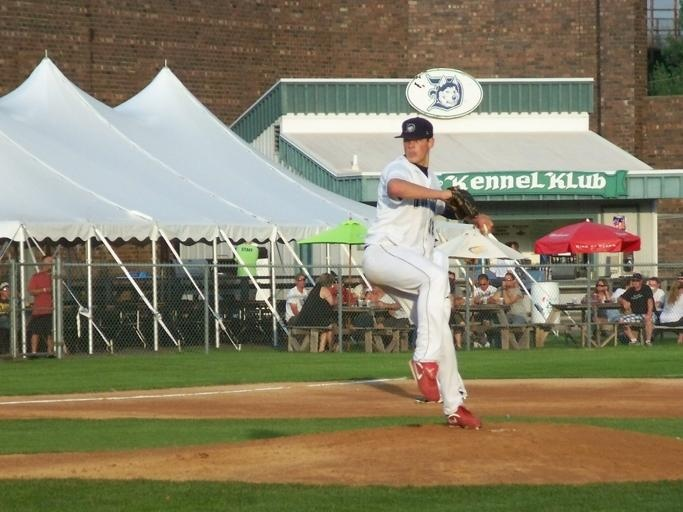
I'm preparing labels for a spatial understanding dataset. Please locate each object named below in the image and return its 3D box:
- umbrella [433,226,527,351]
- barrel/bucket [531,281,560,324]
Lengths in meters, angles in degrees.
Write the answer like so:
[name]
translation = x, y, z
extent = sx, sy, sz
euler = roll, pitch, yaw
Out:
[umbrella]
translation = 3.454, -0.001, 54.209
extent = 2.541, 2.382, 2.850
euler = 4, 6, 11
[barrel/bucket]
translation = 5.590, 1.291, 55.968
extent = 0.769, 1.356, 0.810
euler = 3, 5, 0
